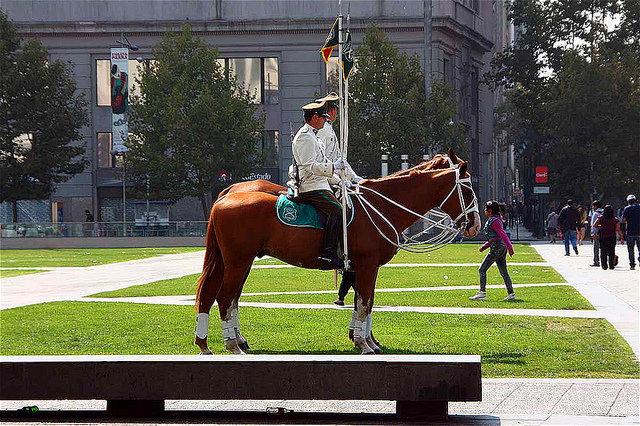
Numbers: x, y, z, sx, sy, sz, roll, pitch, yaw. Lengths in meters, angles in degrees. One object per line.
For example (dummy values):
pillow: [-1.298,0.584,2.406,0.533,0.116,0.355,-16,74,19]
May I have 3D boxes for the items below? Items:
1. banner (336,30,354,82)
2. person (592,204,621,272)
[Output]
banner: [0.675,-5.009,31.334,0.701,1.916,0.206,-8,42,-4]
person: [12.853,1.133,44.853,1.057,2.866,0.906,1,-11,7]
